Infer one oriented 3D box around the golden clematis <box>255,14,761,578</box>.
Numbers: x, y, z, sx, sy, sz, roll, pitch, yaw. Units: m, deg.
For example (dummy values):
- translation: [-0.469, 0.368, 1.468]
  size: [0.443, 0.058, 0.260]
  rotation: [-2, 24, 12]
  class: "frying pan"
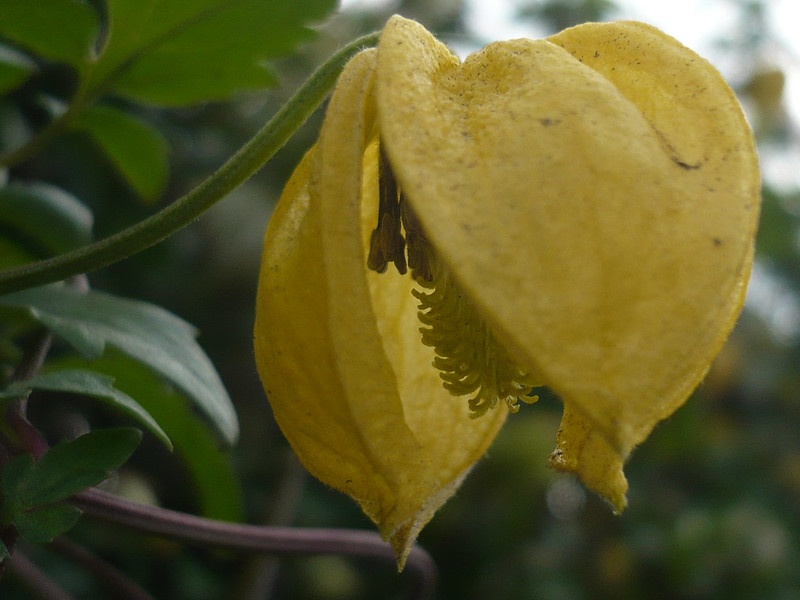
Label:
- translation: [0.174, -0.034, 1.863]
  size: [0.554, 0.628, 0.656]
  rotation: [3, 6, 27]
  class: "golden clematis"
